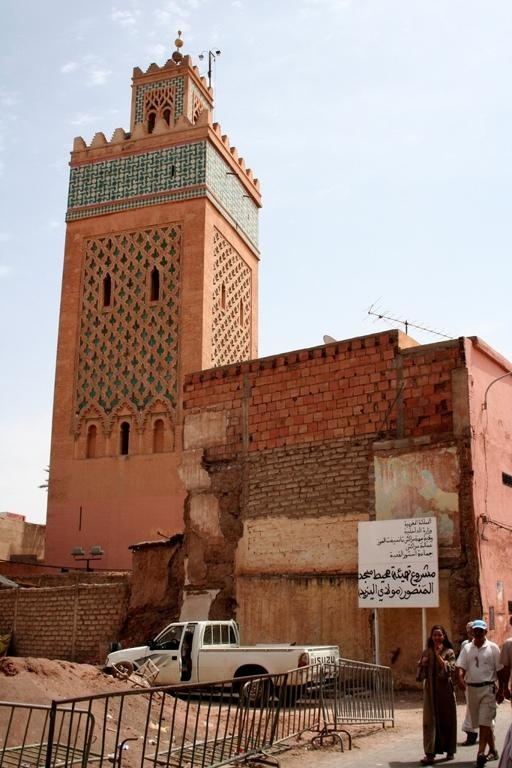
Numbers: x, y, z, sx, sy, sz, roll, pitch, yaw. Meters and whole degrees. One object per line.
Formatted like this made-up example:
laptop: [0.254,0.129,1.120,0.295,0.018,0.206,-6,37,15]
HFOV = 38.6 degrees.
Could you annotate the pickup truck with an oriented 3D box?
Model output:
pickup truck: [-0.593,4.125,11.097,3.564,0.936,1.081,-11,-20,31]

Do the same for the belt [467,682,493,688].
belt: [1.796,2.417,5.857,0.063,0.047,0.210,13,-21,-35]
